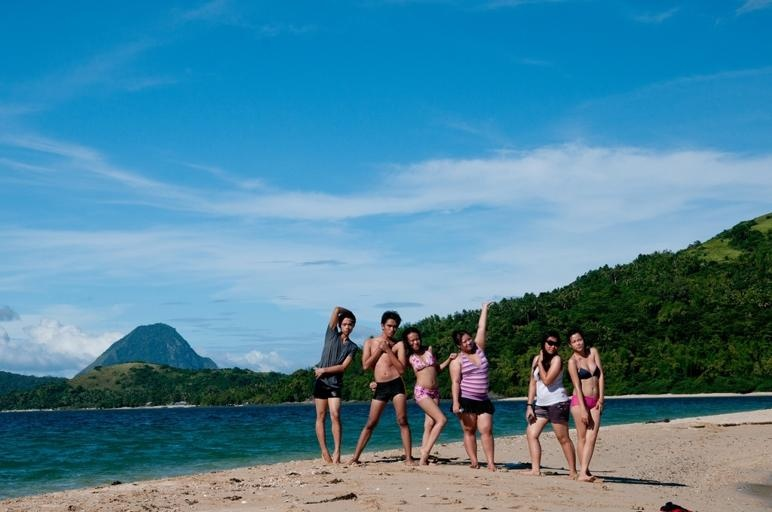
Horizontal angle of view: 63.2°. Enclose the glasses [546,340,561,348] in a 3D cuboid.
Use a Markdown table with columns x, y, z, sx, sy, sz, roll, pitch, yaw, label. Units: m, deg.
| x | y | z | sx | sy | sz | roll | pitch | yaw | label |
| --- | --- | --- | --- | --- | --- | --- | --- | --- | --- |
| 4.326 | 2.246 | 16.057 | 0.354 | 0.176 | 0.179 | 3 | -12 | -18 | glasses |
